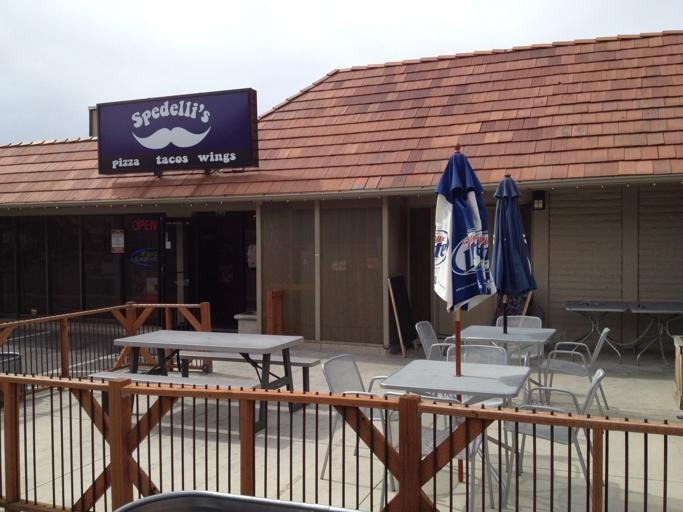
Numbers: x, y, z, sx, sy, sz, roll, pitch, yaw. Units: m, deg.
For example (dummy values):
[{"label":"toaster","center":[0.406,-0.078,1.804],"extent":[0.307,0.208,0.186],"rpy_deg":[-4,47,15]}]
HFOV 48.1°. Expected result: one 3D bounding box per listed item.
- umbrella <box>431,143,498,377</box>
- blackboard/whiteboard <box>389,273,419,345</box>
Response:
[{"label":"umbrella","center":[1.490,0.079,9.370],"extent":[0.679,2.802,0.387],"rpy_deg":[2,-4,-14]},{"label":"blackboard/whiteboard","center":[1.205,1.102,15.124],"extent":[0.106,1.653,1.326],"rpy_deg":[-12,-6,19]}]
